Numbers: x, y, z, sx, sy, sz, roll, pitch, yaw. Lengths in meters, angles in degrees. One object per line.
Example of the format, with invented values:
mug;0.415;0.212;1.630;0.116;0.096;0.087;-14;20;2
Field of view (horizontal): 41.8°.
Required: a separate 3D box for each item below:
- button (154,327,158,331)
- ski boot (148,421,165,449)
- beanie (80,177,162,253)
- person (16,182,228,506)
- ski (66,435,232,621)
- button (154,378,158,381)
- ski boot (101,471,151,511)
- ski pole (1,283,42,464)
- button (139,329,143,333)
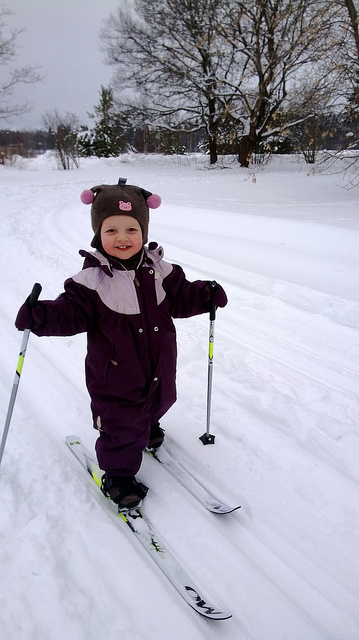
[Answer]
button;-0.106;0.040;2.077;0.014;0.016;0.003;3;0;-18
ski boot;-0.120;0.610;2.471;0.056;0.189;0.080;5;-21;-11
beanie;-0.272;-0.459;2.149;0.371;0.367;0.257;10;31;4
person;-0.236;0.123;2.178;0.891;1.429;0.489;-15;26;-31
ski;-0.218;0.815;2.096;0.119;0.118;1.454;16;7;-37
button;-0.105;0.267;2.106;0.003;0.017;0.021;7;14;37
ski boot;-0.249;0.746;2.140;0.091;0.154;0.308;0;2;-41
ski pole;-0.921;0.349;2.726;0.083;1.035;0.095;16;12;18
button;-0.167;0.049;2.035;0.017;0.016;0.002;-12;15;-42
